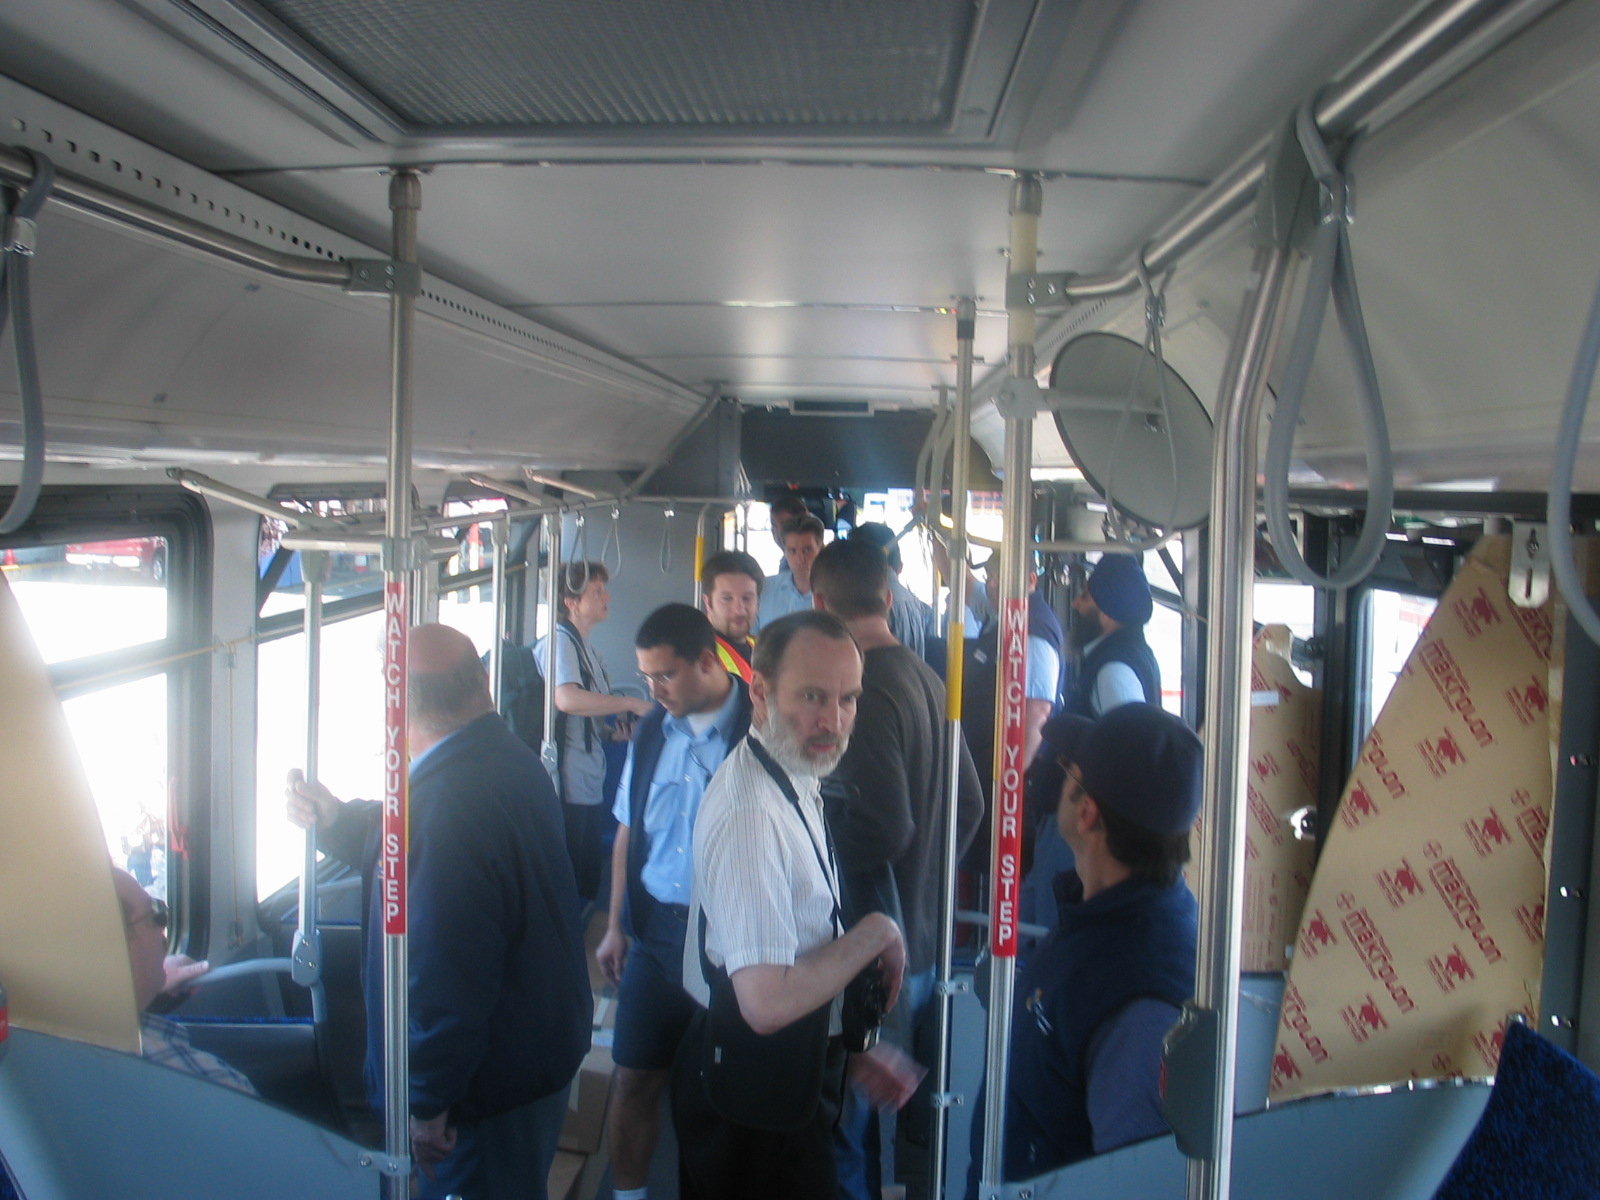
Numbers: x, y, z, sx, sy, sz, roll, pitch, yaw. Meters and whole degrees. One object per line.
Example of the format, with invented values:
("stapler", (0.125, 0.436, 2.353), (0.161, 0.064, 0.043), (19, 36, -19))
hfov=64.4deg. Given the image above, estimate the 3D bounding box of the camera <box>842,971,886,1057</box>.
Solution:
("camera", (0.166, 1.029, 3.188), (0.117, 0.238, 0.116), (-1, 1, 2))
